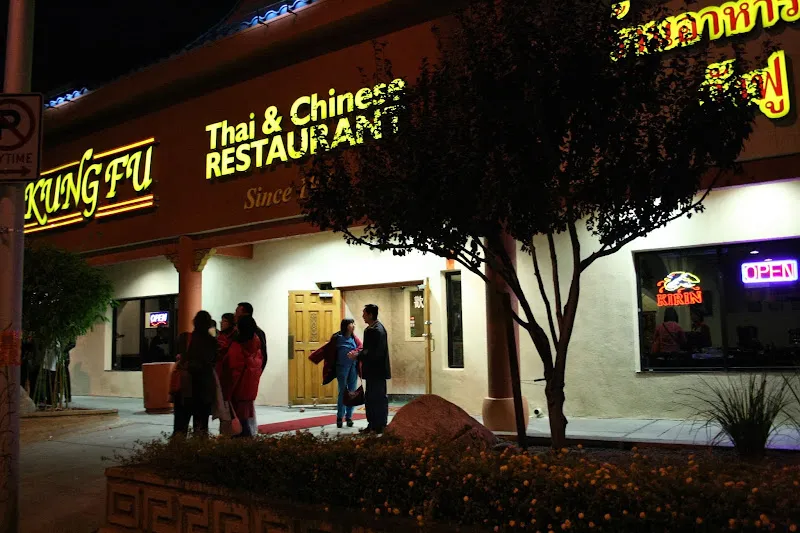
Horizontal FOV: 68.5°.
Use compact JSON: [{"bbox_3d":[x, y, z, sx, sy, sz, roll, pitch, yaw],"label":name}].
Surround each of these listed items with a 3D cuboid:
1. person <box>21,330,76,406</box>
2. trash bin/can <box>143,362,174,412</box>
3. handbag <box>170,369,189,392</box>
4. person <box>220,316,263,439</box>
[{"bbox_3d":[-8.647,2.512,14.392,1.189,2.049,0.849,-15,13,-32],"label":"person"},{"bbox_3d":[-6.269,3.113,15.305,0.771,1.229,0.763,-3,-9,-18],"label":"trash bin/can"},{"bbox_3d":[-3.135,1.623,8.362,0.169,0.439,0.399,-1,1,-45],"label":"handbag"},{"bbox_3d":[-2.300,1.618,8.625,0.685,1.773,0.376,-16,13,-35],"label":"person"}]
